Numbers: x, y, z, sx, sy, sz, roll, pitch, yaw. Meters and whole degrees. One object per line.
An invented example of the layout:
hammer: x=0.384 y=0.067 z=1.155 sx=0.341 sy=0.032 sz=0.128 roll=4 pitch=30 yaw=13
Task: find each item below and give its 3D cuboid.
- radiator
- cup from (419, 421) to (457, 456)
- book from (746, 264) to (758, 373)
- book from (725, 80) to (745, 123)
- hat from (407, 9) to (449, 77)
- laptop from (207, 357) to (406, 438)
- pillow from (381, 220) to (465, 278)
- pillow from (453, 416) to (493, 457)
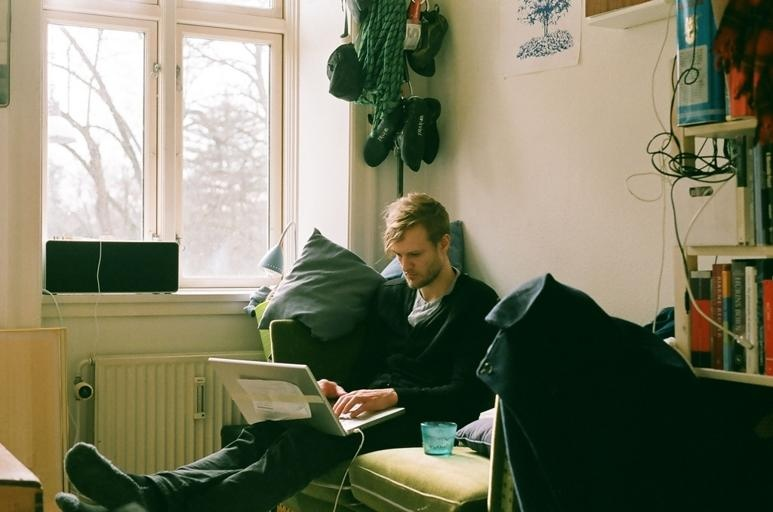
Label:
radiator: x=-1.001 y=0.730 z=3.557 sx=0.697 sy=0.538 sz=0.084 roll=-1 pitch=0 yaw=-25
cup: x=0.188 y=0.654 z=2.785 sx=0.110 sy=0.090 sz=0.124 roll=1 pitch=-2 yaw=31
book: x=1.239 y=0.217 z=2.602 sx=0.043 sy=0.357 sz=0.035 roll=-1 pitch=2 yaw=26
book: x=1.171 y=-0.531 z=2.588 sx=0.035 sy=0.118 sz=0.082 roll=-5 pitch=7 yaw=-27
hat: x=0.227 y=-1.109 z=3.994 sx=0.224 sy=0.323 sz=0.125 roll=13 pitch=17 yaw=40
laptop: x=-0.381 y=0.508 z=2.852 sx=0.451 sy=0.277 sz=0.417 roll=2 pitch=10 yaw=44
pillow: x=0.187 y=-0.007 z=3.865 sx=0.318 sy=0.322 sz=0.138 roll=-24 pitch=-35 yaw=34
pillow: x=0.321 y=0.662 z=2.821 sx=0.132 sy=0.061 sz=0.131 roll=1 pitch=-1 yaw=-37
